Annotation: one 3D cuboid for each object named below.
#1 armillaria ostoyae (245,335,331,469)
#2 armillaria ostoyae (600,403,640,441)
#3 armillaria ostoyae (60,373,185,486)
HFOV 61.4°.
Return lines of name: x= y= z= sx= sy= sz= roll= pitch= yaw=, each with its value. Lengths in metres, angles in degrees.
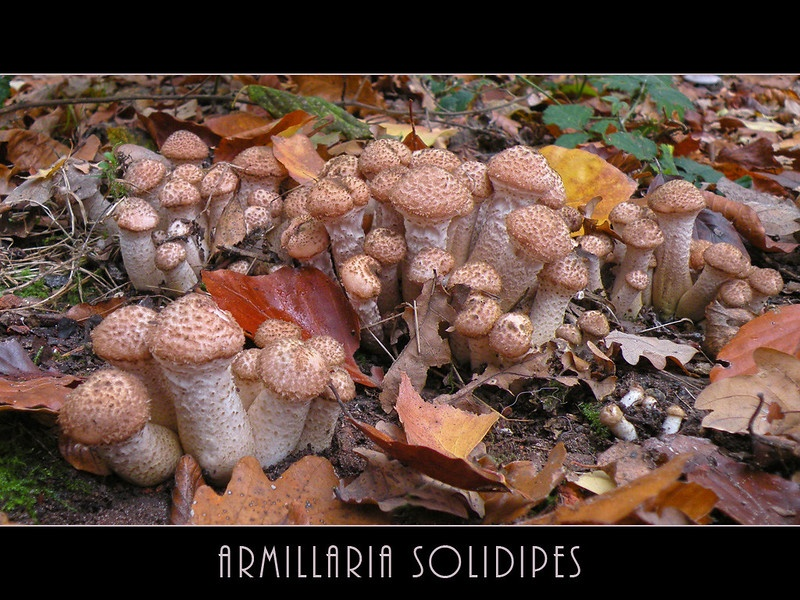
armillaria ostoyae: x=-0.427 y=0.374 z=2.514 sx=0.268 sy=0.532 sz=0.252 roll=20 pitch=34 yaw=2
armillaria ostoyae: x=0.866 y=0.490 z=2.675 sx=0.184 sy=0.098 sz=0.074 roll=44 pitch=25 yaw=-13
armillaria ostoyae: x=-0.957 y=0.452 z=2.324 sx=0.247 sy=0.334 sz=0.221 roll=-29 pitch=45 yaw=0
